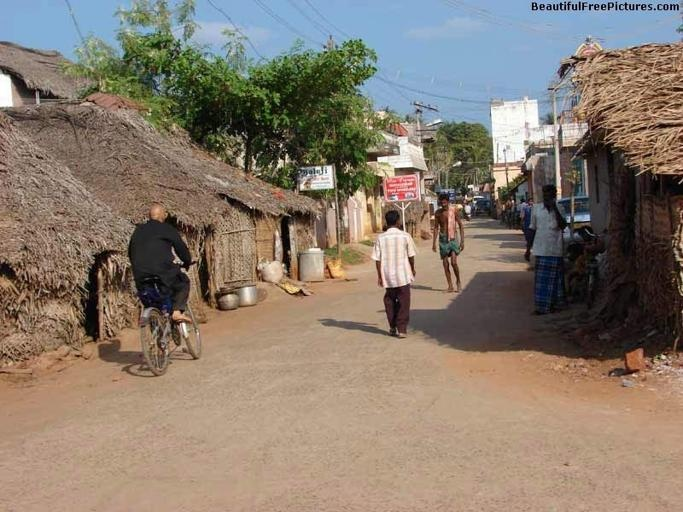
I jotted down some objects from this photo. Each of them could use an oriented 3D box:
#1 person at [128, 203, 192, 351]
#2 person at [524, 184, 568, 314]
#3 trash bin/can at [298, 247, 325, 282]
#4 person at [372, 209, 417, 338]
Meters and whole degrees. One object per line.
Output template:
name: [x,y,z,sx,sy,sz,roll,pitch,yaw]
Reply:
person: [-2.506,0.225,9.045,0.793,1.424,0.407,-6,5,-19]
person: [3.647,-0.129,11.523,0.652,2.283,0.752,-3,5,19]
trash bin/can: [-0.986,0.322,19.129,0.786,0.905,0.794,-4,-4,-12]
person: [0.870,0.275,10.505,0.697,2.039,0.507,-4,4,4]
